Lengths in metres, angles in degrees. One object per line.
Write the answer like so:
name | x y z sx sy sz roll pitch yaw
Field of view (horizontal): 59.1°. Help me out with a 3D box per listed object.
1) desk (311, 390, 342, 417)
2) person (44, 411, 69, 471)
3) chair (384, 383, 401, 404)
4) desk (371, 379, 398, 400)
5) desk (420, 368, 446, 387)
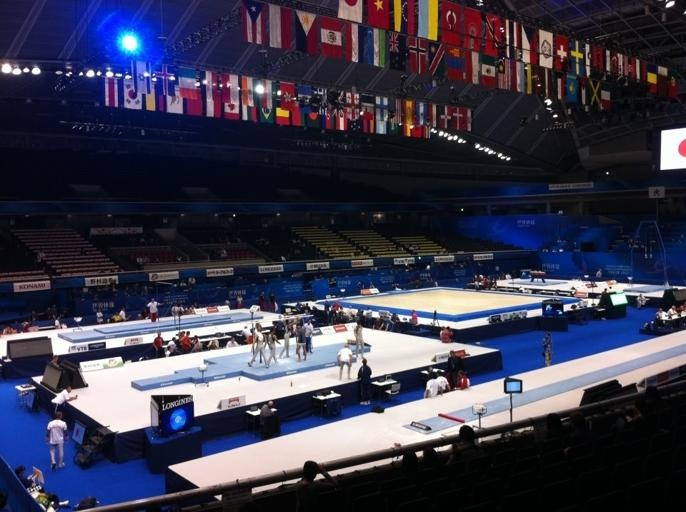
desk | -0.547 5.163 21.134 0.815 0.830 0.810 -1 1 -36
person | -8.549 5.438 18.123 0.545 1.849 1.448 -7 1 -27
chair | 1.813 5.041 22.190 0.491 0.814 0.549 -7 17 -30
desk | 1.556 4.876 22.224 0.724 0.602 0.778 0 0 -37
desk | 3.315 4.633 22.852 0.710 0.696 0.731 -1 -4 17
